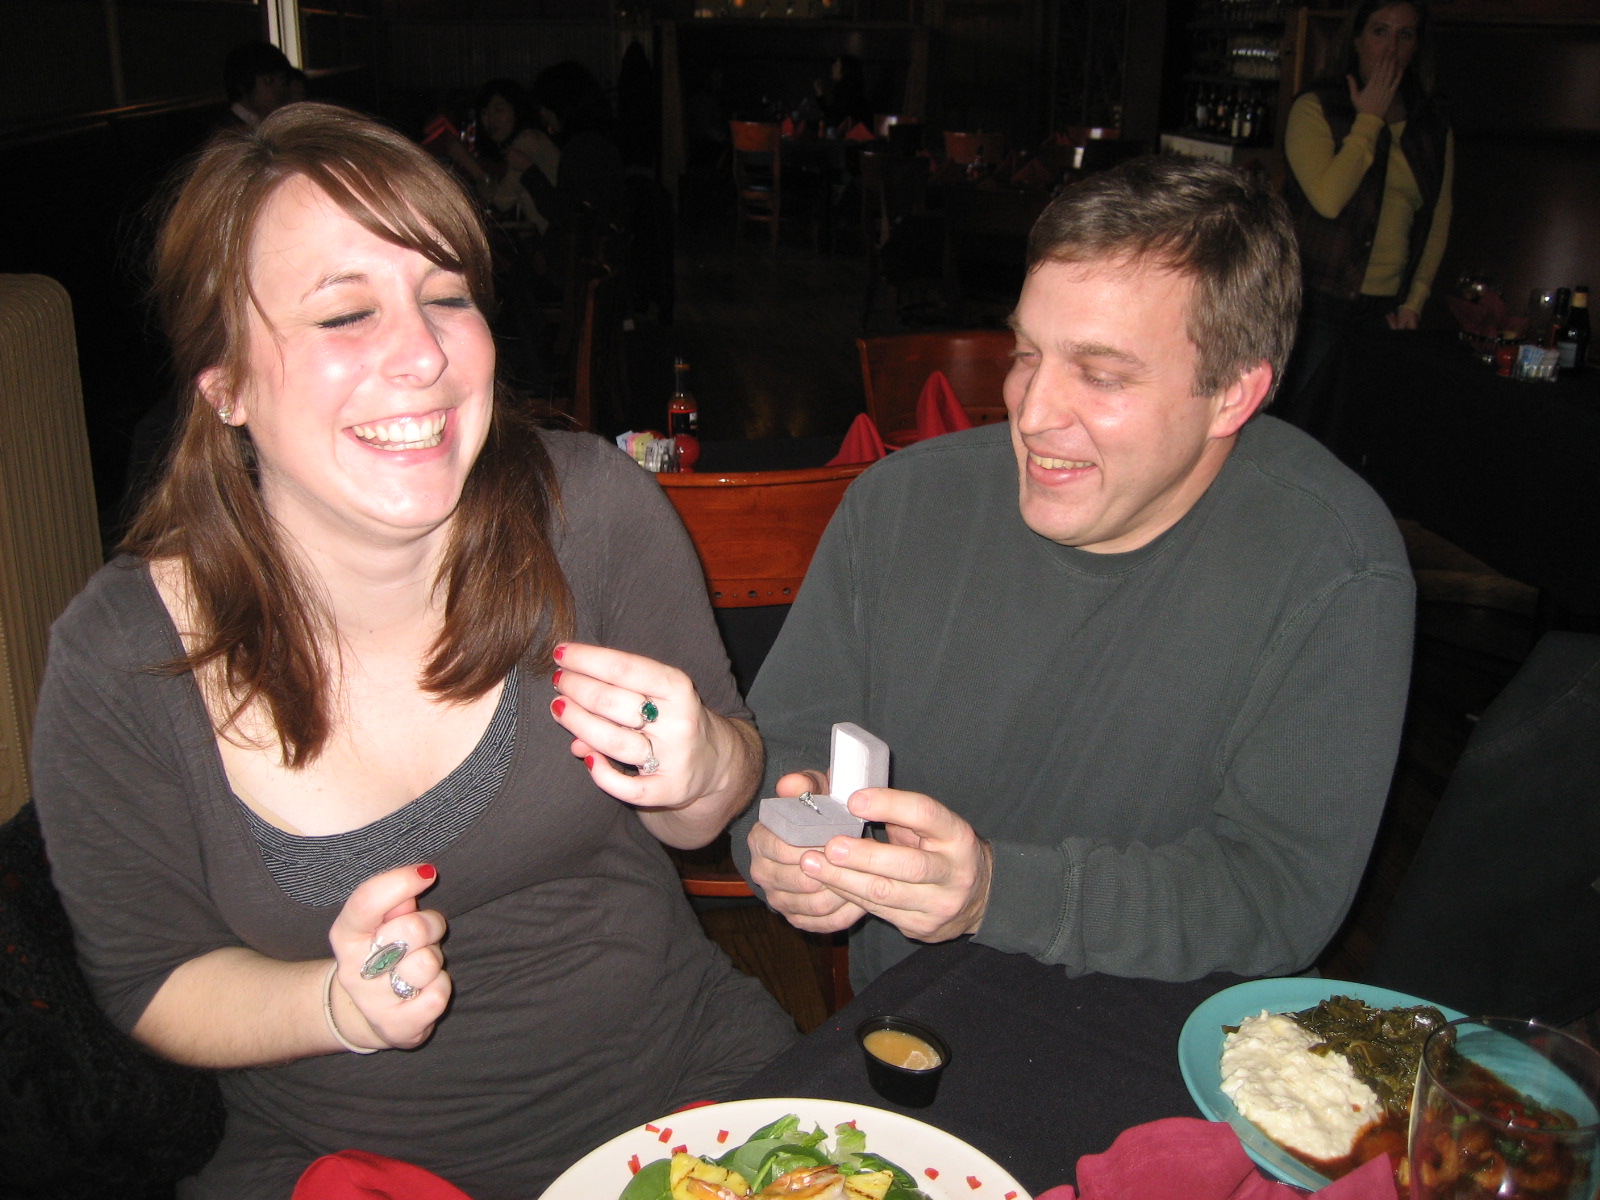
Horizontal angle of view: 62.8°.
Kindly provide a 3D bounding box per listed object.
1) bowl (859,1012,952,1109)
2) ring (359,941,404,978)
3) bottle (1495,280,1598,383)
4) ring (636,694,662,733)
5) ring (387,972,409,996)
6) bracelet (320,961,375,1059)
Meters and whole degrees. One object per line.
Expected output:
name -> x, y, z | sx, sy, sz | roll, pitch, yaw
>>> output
bowl -> 0.127, 0.556, 1.575 | 0.110, 0.054, 0.113 | 16, 15, -4
ring -> -0.535, 0.452, 1.677 | 0.057, 0.039, 0.015 | -33, 28, -4
bottle -> 2.949, -1.072, 5.149 | 0.333, 0.336, 0.637 | 16, 29, 24
ring -> -0.196, 0.146, 1.687 | 0.011, 0.036, 0.037 | -3, 7, 34
ring -> -0.511, 0.491, 1.672 | 0.022, 0.025, 0.010 | -9, -7, 3
bracelet -> -0.627, 0.548, 1.769 | 0.106, 0.111, 0.029 | 41, 33, 26
